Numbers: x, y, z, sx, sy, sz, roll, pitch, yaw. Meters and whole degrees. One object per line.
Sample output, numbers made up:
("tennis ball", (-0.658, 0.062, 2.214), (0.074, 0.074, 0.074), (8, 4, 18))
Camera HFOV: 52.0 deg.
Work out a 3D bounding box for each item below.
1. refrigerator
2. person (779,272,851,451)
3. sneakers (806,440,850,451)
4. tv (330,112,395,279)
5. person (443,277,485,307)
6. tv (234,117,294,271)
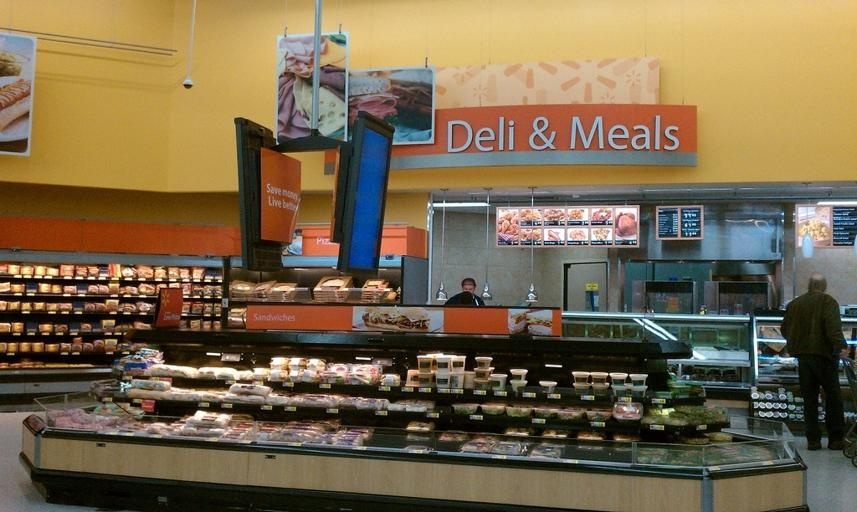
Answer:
("refrigerator", (5.834, 1.534, 13.563), (1.977, 1.323, 1.092), (-1, -7, 15))
("person", (5.734, 1.573, 13.043), (0.831, 2.532, 0.472), (0, -1, 19))
("sneakers", (5.866, 2.769, 12.962), (0.616, 0.210, 0.178), (-5, -3, 10))
("tv", (-0.835, -0.850, 11.620), (0.303, 2.254, 1.330), (3, -8, 17))
("person", (0.619, 0.637, 14.239), (0.791, 0.479, 0.406), (3, -19, 2))
("tv", (-2.280, -0.804, 11.717), (0.330, 2.003, 0.631), (-1, -1, 39))
